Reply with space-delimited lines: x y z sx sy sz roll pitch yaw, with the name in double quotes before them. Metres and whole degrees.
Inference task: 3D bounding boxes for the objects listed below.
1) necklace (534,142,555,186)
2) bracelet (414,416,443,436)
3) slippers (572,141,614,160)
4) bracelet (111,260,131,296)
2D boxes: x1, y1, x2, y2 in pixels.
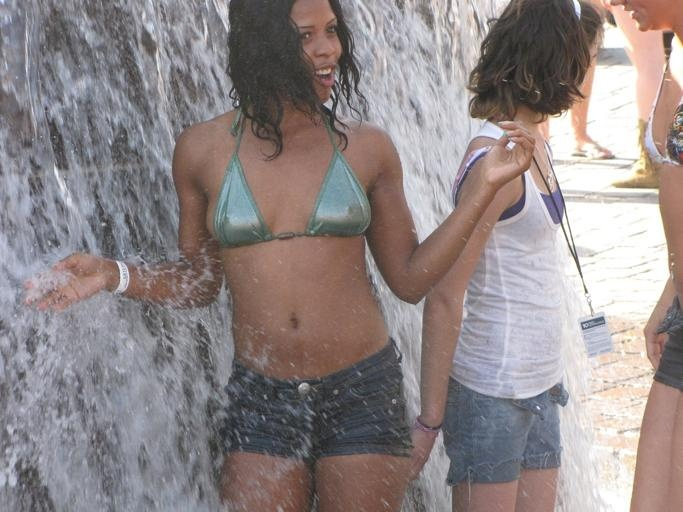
"necklace" 0.892 -0.398 3.885 0.013 0.311 0.076 -13 32 21
"bracelet" 0.368 0.696 3.714 0.076 0.035 0.073 13 -1 34
"slippers" 2.826 -1.166 9.986 0.507 0.254 0.202 2 12 17
"bracelet" -0.929 0.083 3.732 0.057 0.113 0.106 2 -27 -17
